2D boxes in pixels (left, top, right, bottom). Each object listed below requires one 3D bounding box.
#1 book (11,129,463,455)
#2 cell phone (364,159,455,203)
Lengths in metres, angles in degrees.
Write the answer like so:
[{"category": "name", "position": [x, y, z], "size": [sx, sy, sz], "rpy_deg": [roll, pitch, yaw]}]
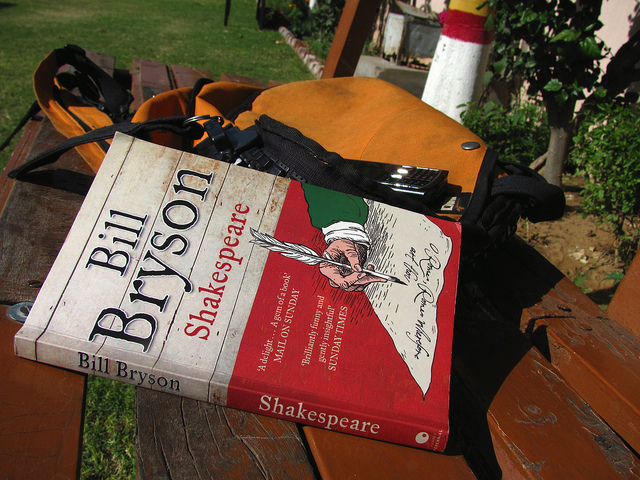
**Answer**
[{"category": "book", "position": [-0.204, 0.144, 1.373], "size": [0.968, 0.147, 0.717], "rpy_deg": [13, 51, -2]}, {"category": "cell phone", "position": [0.226, -0.199, 1.713], "size": [0.329, 0.048, 0.179], "rpy_deg": [13, 31, 32]}]
